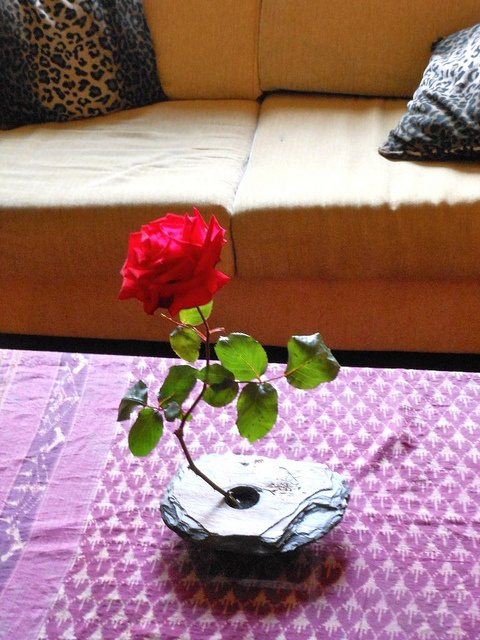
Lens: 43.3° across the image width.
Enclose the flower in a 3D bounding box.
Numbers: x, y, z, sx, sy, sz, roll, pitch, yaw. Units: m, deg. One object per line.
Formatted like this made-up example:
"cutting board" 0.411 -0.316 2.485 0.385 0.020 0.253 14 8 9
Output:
"flower" -0.002 0.036 0.847 0.342 0.459 0.237 -10 20 -6
